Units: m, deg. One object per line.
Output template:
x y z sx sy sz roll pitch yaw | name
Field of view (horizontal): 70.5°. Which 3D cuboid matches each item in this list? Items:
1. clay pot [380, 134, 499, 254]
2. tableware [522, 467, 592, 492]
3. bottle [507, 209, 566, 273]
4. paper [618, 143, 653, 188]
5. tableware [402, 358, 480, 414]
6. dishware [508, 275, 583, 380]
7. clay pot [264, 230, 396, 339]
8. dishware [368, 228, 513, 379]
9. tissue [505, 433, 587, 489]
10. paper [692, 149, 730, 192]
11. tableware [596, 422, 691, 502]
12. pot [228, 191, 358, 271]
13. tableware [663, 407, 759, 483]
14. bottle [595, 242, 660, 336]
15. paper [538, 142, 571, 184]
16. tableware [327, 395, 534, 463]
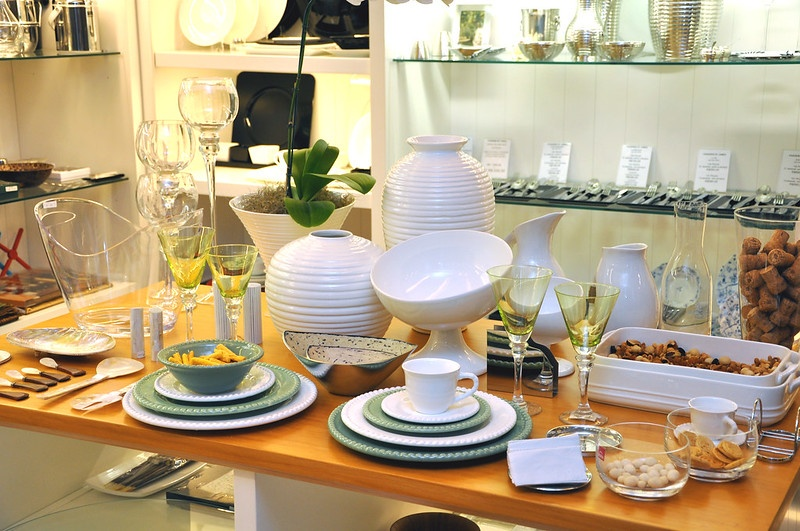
0.096 -0.194 1.527 0.278 0.358 0.277 -1 7 0 | clay pot
0.253 0.340 0.875 0.107 0.011 0.022 -2 15 -9 | tableware
0.342 -0.055 1.414 0.116 0.163 0.160 -9 11 -41 | bottle
1.082 -0.450 2.569 0.178 0.245 0.026 13 3 28 | paper
0.078 0.226 1.015 0.136 0.079 0.094 0 -3 7 | tableware
0.338 0.119 1.282 0.192 0.212 0.187 -7 10 -29 | dishware
-0.146 0.043 1.303 0.264 0.276 0.238 -1 8 -3 | clay pot
0.145 0.127 1.349 0.295 0.243 0.298 -25 -9 19 | dishware
0.231 0.304 0.876 0.091 0.034 0.091 -5 49 -3 | tissue
1.369 -0.413 2.461 0.185 0.239 0.024 3 3 29 | paper
0.376 0.307 0.894 0.111 0.070 0.116 -7 18 -6 | tableware
-0.300 -0.095 1.582 0.257 0.184 0.235 0 17 0 | pot
0.504 0.300 0.940 0.116 0.074 0.126 -13 23 -23 | tableware
0.525 0.055 1.320 0.149 0.211 0.144 -5 12 1 | bottle
0.740 -0.498 2.703 0.151 0.202 0.022 5 -21 15 | paper
0.050 0.294 0.991 0.366 0.045 0.154 1 15 2 | tableware
